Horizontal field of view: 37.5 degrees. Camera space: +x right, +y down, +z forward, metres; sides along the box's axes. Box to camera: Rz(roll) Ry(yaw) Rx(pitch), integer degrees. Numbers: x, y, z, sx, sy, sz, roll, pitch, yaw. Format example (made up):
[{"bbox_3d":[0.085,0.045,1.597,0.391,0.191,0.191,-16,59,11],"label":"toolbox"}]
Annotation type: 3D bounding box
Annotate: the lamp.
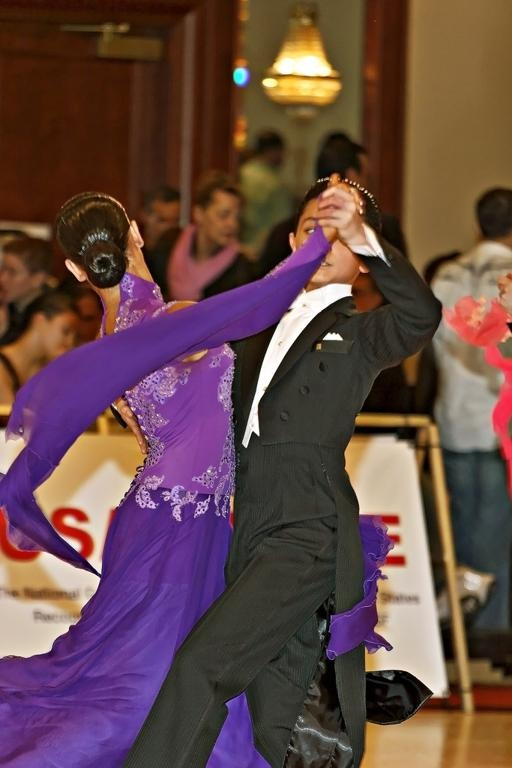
[{"bbox_3d":[0.270,-2.002,4.834,0.593,0.667,0.537,-1,12,-4],"label":"lamp"}]
